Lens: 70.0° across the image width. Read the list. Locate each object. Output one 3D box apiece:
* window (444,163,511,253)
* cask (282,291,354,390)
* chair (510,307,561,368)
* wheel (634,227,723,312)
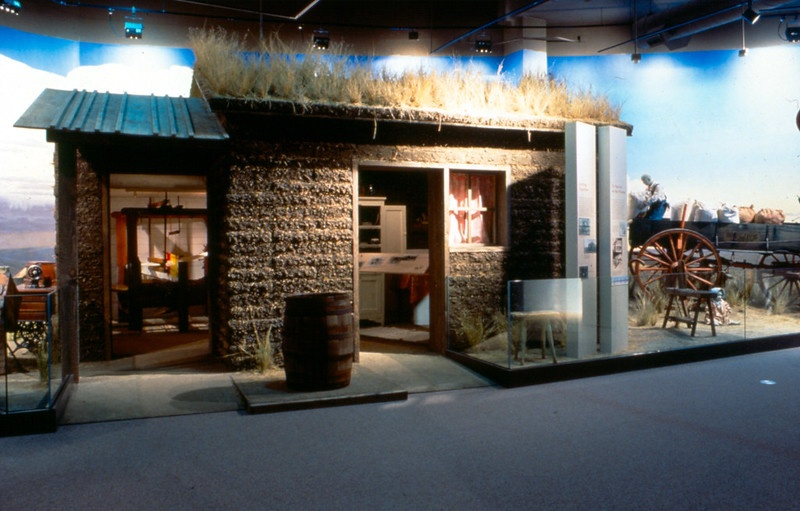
[{"bbox_3d":[1.455,-0.936,10.880,1.863,1.959,0.142,0,-1,-19],"label":"window"},{"bbox_3d":[-1.226,1.338,8.972,1.331,1.291,1.271,-1,-2,9],"label":"cask"},{"bbox_3d":[2.226,1.318,9.484,0.989,0.766,0.917,-3,0,30],"label":"chair"},{"bbox_3d":[6.841,0.295,14.212,2.078,1.707,1.570,2,16,26],"label":"wheel"}]
